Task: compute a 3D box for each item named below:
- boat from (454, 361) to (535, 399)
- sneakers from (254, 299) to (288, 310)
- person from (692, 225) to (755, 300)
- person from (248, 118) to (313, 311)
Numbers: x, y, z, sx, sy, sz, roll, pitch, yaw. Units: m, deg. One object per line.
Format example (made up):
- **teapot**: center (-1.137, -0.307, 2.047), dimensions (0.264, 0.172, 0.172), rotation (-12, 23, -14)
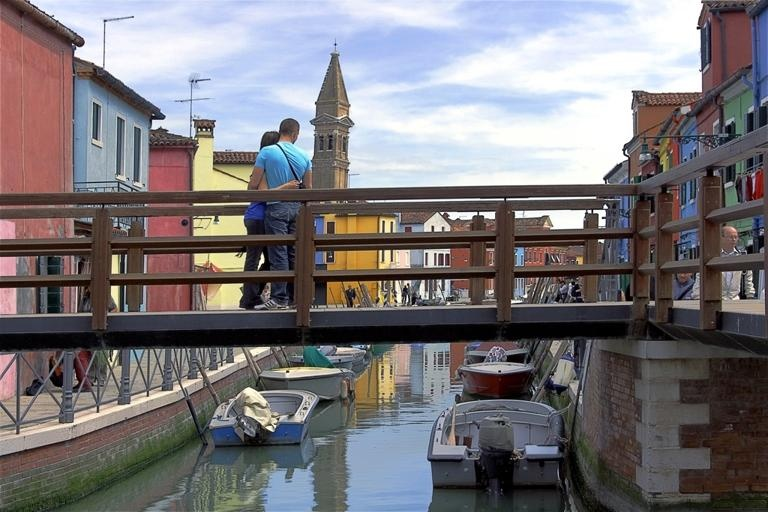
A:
- **boat**: center (3.277, 3.637, 41.084), dimensions (2.420, 0.987, 4.098), rotation (-1, -3, 2)
- **sneakers**: center (-2.013, 0.900, 25.369), dimensions (0.617, 0.234, 0.224), rotation (2, -7, -1)
- **person**: center (6.707, 0.668, 27.723), dimensions (1.136, 2.445, 0.984), rotation (2, 6, 14)
- **person**: center (-1.877, -0.787, 25.855), dimensions (1.099, 3.545, 1.513), rotation (-1, -3, -3)
